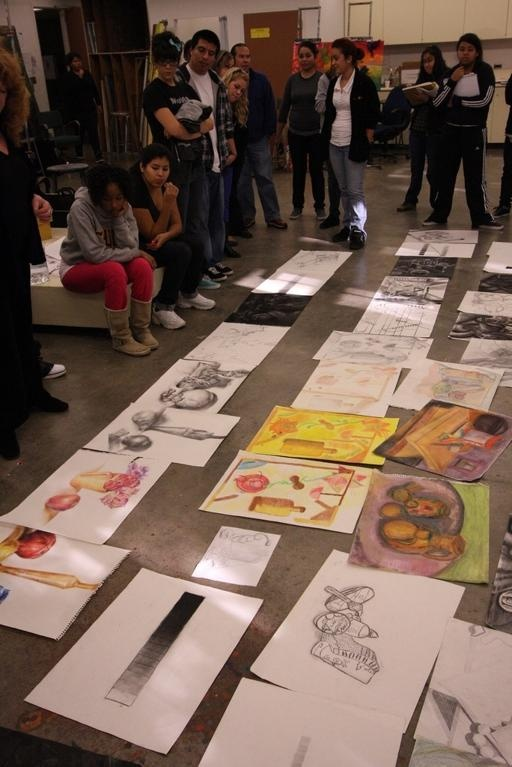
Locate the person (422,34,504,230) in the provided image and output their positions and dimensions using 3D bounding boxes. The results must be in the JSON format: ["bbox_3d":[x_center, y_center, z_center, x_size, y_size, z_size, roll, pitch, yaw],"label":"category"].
[{"bbox_3d":[1.634,-1.904,4.340,0.576,1.383,0.398,11,27,29],"label":"person"}]

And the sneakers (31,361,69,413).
[{"bbox_3d":[-0.884,0.024,2.373,0.128,0.079,0.217,-1,39,-9],"label":"sneakers"}]

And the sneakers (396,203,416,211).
[{"bbox_3d":[1.442,-1.666,5.297,0.208,0.089,0.077,-12,22,-17],"label":"sneakers"}]

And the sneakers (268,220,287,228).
[{"bbox_3d":[0.197,-1.421,5.005,0.182,0.089,0.076,5,31,18],"label":"sneakers"}]
